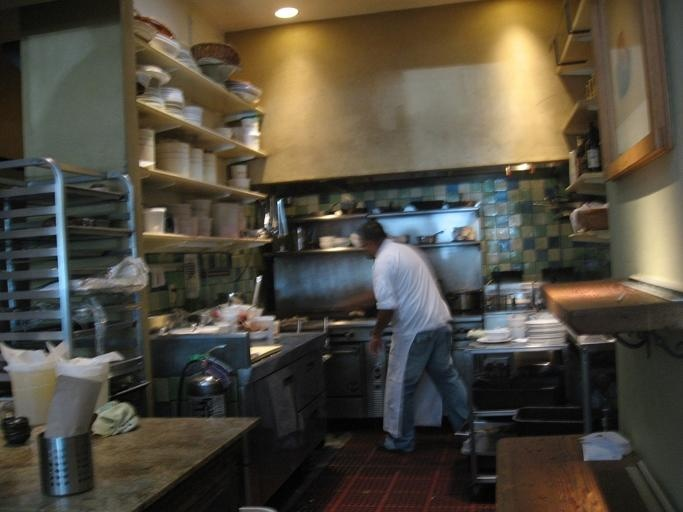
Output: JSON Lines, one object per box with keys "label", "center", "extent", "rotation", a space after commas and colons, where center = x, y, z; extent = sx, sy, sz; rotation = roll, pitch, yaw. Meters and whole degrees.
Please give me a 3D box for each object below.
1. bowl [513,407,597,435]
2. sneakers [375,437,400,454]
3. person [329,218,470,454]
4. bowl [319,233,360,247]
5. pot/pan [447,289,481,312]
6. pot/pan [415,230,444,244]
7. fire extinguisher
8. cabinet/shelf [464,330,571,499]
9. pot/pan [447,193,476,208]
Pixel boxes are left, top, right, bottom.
{"label": "bowl", "center": [1.235, 0.946, 3.513], "extent": [0.352, 0.092, 0.196], "rotation": [0, 0, 7]}
{"label": "sneakers", "center": [0.320, 1.369, 4.364], "extent": [0.084, 0.136, 0.167], "rotation": [-2, 5, -35]}
{"label": "person", "center": [0.523, 0.562, 4.319], "extent": [0.662, 1.523, 0.336], "rotation": [-5, -1, 4]}
{"label": "bowl", "center": [-0.019, -0.139, 5.411], "extent": [0.278, 0.074, 0.156], "rotation": [-1, 0, 19]}
{"label": "pot/pan", "center": [1.040, 0.391, 5.172], "extent": [0.389, 0.163, 0.238], "rotation": [-2, -6, -6]}
{"label": "pot/pan", "center": [0.792, -0.173, 5.386], "extent": [0.215, 0.067, 0.134], "rotation": [-2, 2, 33]}
{"label": "fire extinguisher", "center": [-0.790, 0.716, 3.283], "extent": [0.273, 0.383, 0.318], "rotation": [5, -4, -20]}
{"label": "cabinet/shelf", "center": [1.171, 1.012, 3.788], "extent": [0.812, 0.826, 0.624], "rotation": [-8, -17, 14]}
{"label": "pot/pan", "center": [1.084, -0.507, 5.388], "extent": [0.258, 0.131, 0.302], "rotation": [-4, -1, 13]}
